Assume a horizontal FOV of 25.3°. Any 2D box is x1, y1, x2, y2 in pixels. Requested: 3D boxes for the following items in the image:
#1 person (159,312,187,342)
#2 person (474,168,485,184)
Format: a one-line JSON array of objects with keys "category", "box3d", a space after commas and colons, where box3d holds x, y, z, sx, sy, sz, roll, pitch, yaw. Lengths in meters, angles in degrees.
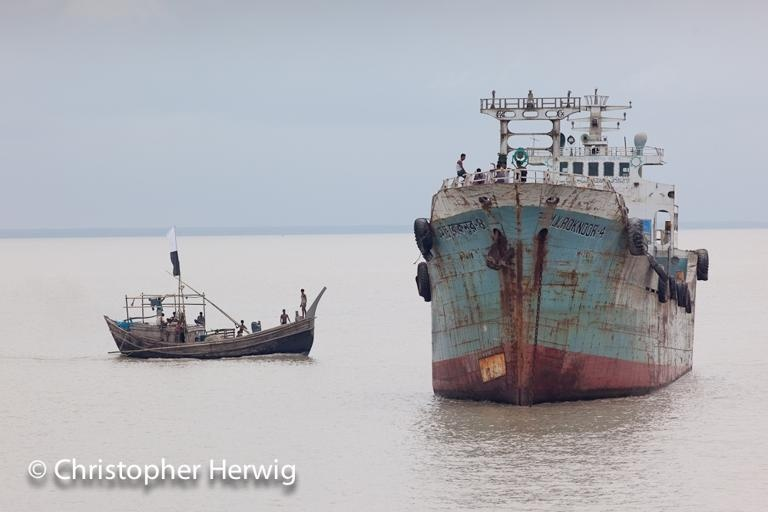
[{"category": "person", "box3d": [-11.714, 4.015, 96.159, 1.590, 0.991, 2.807, 1, -4, -12]}, {"category": "person", "box3d": [4.550, -3.746, 81.711, 0.509, 0.662, 0.981, -1, 2, 3]}]
